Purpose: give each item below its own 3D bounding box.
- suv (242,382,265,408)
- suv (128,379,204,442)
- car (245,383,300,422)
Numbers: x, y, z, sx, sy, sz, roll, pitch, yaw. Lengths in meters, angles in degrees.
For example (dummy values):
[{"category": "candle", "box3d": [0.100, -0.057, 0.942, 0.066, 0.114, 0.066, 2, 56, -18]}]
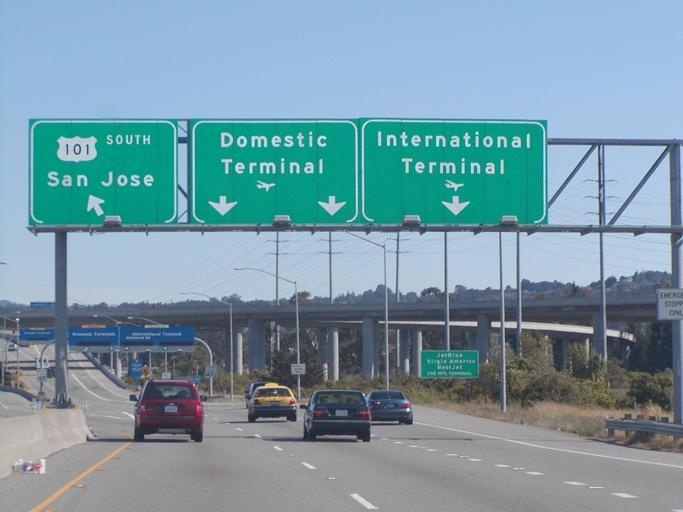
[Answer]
[{"category": "suv", "box3d": [-4.915, 7.397, 78.421, 1.662, 1.826, 3.953, 1, -3, -3]}, {"category": "suv", "box3d": [-7.157, 6.272, 59.041, 1.954, 2.144, 4.713, 0, -4, -13]}, {"category": "car", "box3d": [-3.489, 7.432, 72.593, 1.705, 1.663, 4.034, 0, -5, -7]}]
